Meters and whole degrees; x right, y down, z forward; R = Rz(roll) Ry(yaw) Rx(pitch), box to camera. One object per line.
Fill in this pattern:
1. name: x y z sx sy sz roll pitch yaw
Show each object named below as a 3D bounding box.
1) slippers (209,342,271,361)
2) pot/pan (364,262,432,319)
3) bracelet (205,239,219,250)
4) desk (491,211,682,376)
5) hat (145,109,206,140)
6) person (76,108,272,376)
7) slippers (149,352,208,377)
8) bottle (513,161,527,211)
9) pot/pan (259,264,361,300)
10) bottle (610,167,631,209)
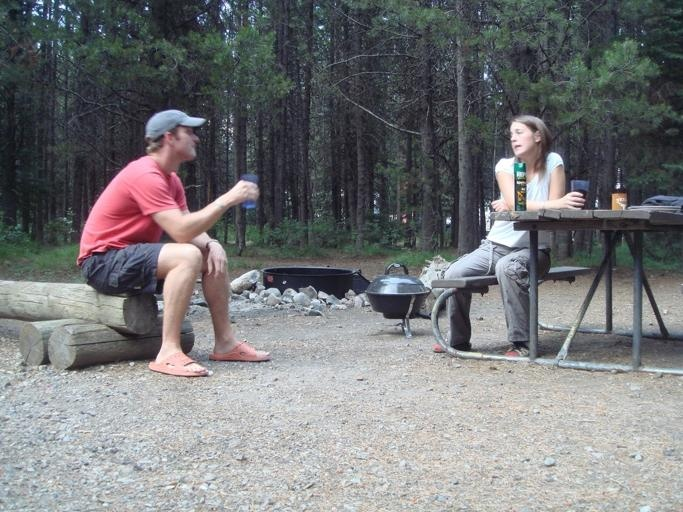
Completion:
1. slippers: -0.844 0.774 5.843 0.469 0.143 0.186 0 -2 -4
2. pot/pan: 0.583 0.405 7.475 0.695 0.546 0.646 -1 10 -5
3. bracelet: -1.042 -0.106 5.658 0.099 0.092 0.027 2 -25 20
4. desk: 2.038 0.161 5.513 1.351 1.023 1.425 -1 2 3
5. hat: -1.304 -1.062 5.497 0.439 0.156 0.260 -17 9 -10
6. person: -1.335 -0.129 5.557 1.385 2.054 0.837 5 12 27
7. slippers: -1.251 0.816 5.300 0.361 0.127 0.190 0 2 23
8. bottle: 1.419 -0.552 5.475 0.109 0.368 0.217 2 11 13
9. pot/pan: -0.493 0.388 10.945 1.187 0.405 1.246 7 13 38
10. bottle: 2.235 -0.548 5.536 0.107 0.311 0.459 3 11 22
